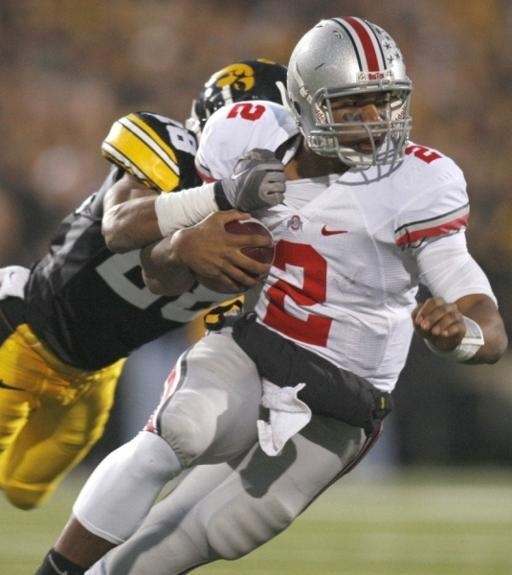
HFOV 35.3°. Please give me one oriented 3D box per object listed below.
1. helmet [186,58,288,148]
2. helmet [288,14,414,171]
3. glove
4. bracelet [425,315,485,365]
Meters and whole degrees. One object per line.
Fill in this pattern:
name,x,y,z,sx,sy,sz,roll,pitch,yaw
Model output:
helmet,-0.055,-0.514,2.244,0.309,0.239,0.198,-3,21,-15
helmet,0.170,-0.378,1.583,0.309,0.296,0.246,-2,26,-3
glove,-0.003,-0.206,1.499,0.125,0.109,0.146,15,22,40
bracelet,0.360,0.088,1.391,0.096,0.084,0.123,5,15,21
